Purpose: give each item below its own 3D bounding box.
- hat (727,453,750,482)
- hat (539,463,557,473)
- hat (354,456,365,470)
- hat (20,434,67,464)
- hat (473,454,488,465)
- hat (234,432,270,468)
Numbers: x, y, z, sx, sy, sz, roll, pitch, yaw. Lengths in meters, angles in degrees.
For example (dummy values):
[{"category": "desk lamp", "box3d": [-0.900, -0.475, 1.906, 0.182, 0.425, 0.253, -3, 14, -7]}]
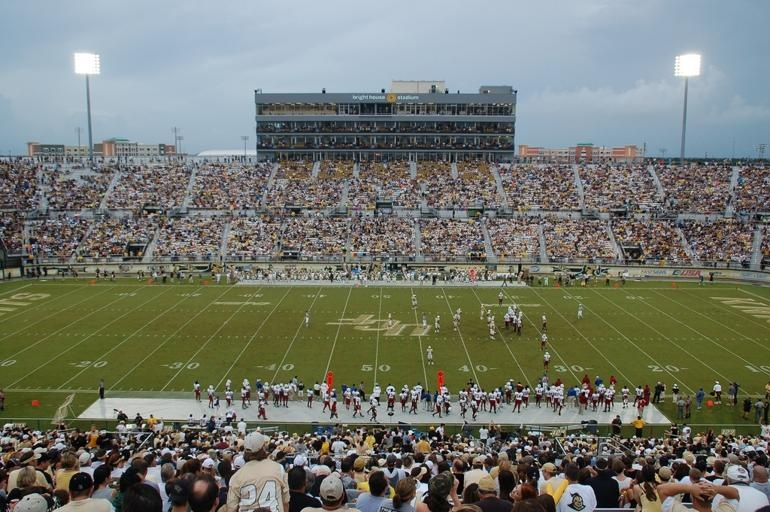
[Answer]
[{"category": "hat", "box3d": [11.092, 6.832, 24.512, 0.659, 0.477, 0.985, -1, 21, 18]}, {"category": "hat", "box3d": [5.517, 7.174, 26.267, 0.466, 0.348, 0.536, 1, 14, 3]}, {"category": "hat", "box3d": [-0.908, 6.853, 25.754, 0.272, 0.300, 0.367, 7, 27, 8]}, {"category": "hat", "box3d": [-12.270, 6.907, 27.585, 0.635, 0.633, 1.209, 17, -26, -9]}, {"category": "hat", "box3d": [3.168, 6.882, 26.165, 0.549, 0.251, 0.778, 1, -5, 6]}, {"category": "hat", "box3d": [-4.081, 5.865, 23.697, 0.691, 1.094, 0.367, 0, 14, 0]}]
